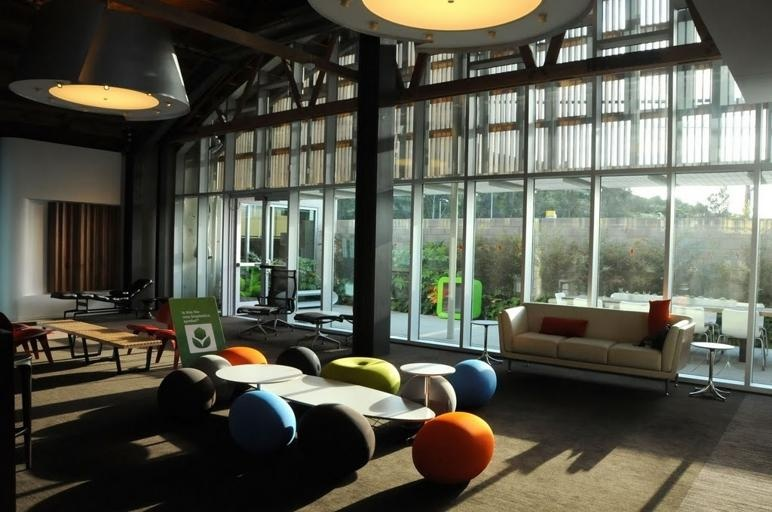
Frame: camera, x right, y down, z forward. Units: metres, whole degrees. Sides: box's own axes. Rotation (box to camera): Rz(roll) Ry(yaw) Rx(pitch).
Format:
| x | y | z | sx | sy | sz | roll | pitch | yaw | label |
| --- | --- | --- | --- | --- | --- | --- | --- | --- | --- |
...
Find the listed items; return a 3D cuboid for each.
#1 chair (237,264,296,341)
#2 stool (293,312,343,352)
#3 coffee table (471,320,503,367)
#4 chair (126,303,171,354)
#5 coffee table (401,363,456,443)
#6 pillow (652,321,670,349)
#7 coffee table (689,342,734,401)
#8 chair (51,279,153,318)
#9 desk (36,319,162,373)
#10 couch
| x | y | z | sx | sy | sz | roll | pitch | yaw | label |
| --- | --- | --- | --- | --- | --- | --- | --- | --- | --- |
| -2.543 | 0.996 | 12.119 | 1.067 | 1.456 | 1.113 | 6 | -4 | -21 | chair |
| -1.411 | 1.526 | 11.597 | 0.791 | 0.728 | 1.068 | 5 | -3 | -36 | stool |
| 1.867 | 1.581 | 10.487 | 0.725 | 0.784 | 0.704 | 1 | -3 | 2 | coffee table |
| -4.548 | 1.417 | 10.781 | 0.982 | 0.889 | 0.665 | -4 | -8 | 40 | chair |
| 0.660 | 1.861 | 7.414 | 0.787 | 0.802 | 0.746 | -11 | -25 | 17 | coffee table |
| 4.183 | 1.225 | 8.697 | 0.107 | 0.342 | 0.347 | 22 | 13 | 2 | pillow |
| 5.038 | 1.714 | 8.742 | 0.528 | 0.837 | 0.966 | 7 | 11 | 30 | coffee table |
| -7.216 | 1.099 | 14.351 | 2.348 | 0.954 | 0.891 | 4 | -5 | -39 | chair |
| -4.818 | 1.537 | 9.536 | 2.474 | 0.710 | 1.045 | 9 | 12 | 38 | desk |
| 3.394 | 1.447 | 9.395 | 2.928 | 1.102 | 1.007 | 2 | 4 | 32 | couch |
